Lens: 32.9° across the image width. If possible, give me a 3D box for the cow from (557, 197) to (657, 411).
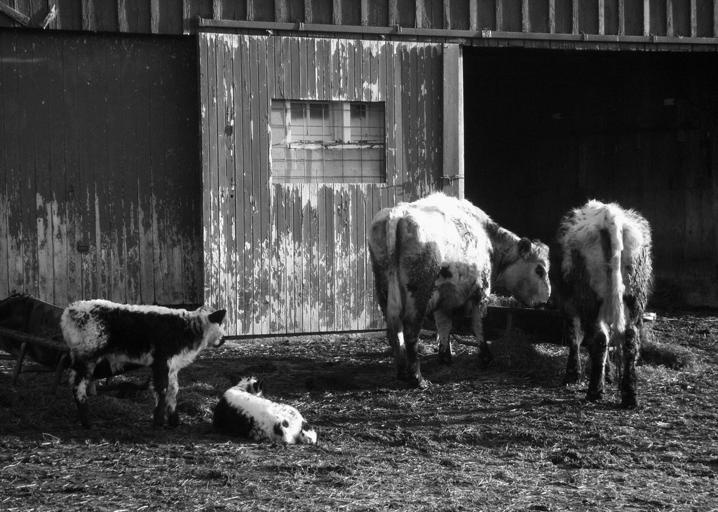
[{"bbox_3d":[2.990,0.667,15.648,0.685,2.518,2.865,-1,1,-2],"label":"cow"}]
